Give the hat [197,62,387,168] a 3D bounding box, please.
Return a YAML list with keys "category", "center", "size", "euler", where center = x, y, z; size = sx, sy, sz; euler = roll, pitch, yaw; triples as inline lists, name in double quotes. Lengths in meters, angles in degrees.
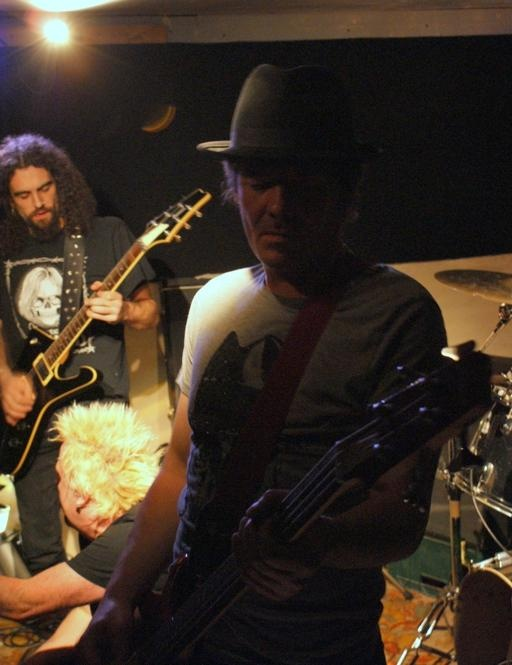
- category: "hat"
  center: [0.062, -0.337, 1.082]
  size: [0.218, 0.068, 0.194]
  euler: [-7, 13, -37]
